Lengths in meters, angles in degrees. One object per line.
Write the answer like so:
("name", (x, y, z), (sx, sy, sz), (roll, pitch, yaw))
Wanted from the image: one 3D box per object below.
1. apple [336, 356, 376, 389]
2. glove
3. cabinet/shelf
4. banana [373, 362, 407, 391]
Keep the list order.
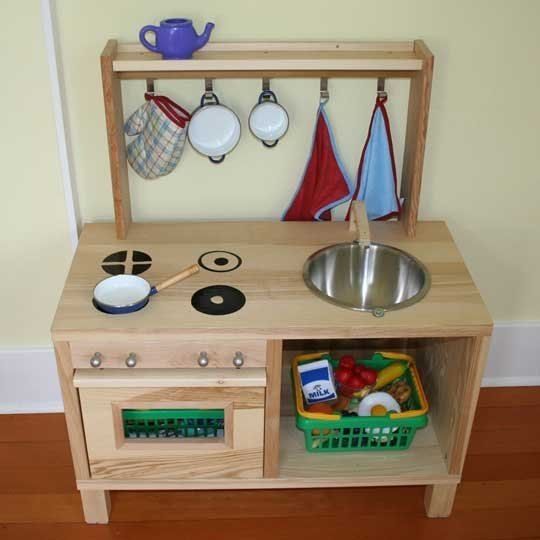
("apple", (0.280, 0.340, 1.780), (0.118, 0.049, 0.112), (0, 11, -2))
("glove", (-0.353, -0.405, 1.681), (0.223, 0.274, 0.151), (3, 26, 1))
("cabinet/shelf", (0.004, 0.336, 1.778), (1.245, 0.708, 0.658), (-4, 29, -10))
("banana", (0.413, 0.362, 1.848), (0.122, 0.030, 0.032), (-33, -8, -10))
